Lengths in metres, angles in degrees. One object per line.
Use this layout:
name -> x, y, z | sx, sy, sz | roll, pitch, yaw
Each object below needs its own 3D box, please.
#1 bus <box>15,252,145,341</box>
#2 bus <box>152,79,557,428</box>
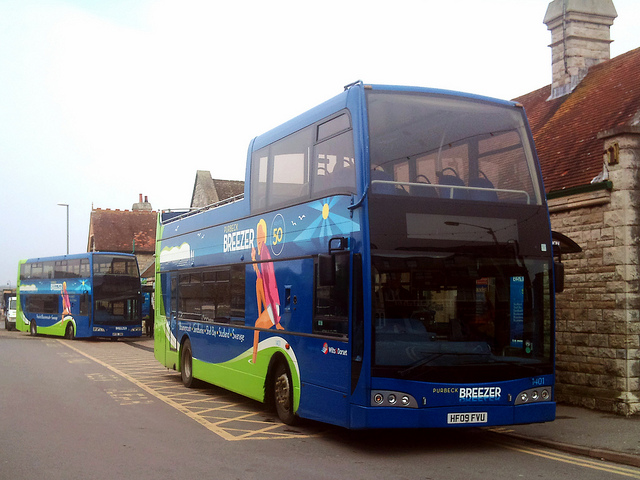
bus -> -16.525, 3.716, 37.340 | 11.651, 5.596, 3.379 | -5, -7, 41
bus -> -0.702, 0.674, 13.570 | 3.610, 5.407, 12.101 | 4, -7, -30
